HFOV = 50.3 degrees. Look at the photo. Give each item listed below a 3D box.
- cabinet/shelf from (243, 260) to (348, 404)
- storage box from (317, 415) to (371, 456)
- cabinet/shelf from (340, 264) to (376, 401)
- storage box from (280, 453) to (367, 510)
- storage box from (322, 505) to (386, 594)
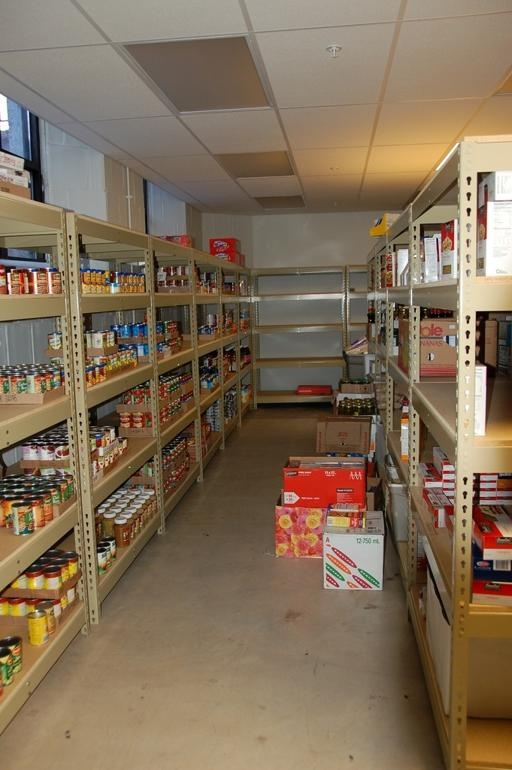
[{"bbox_3d":[0.575,-0.820,7.772,1.851,1.932,0.460,0,13,3],"label":"cabinet/shelf"},{"bbox_3d":[0.673,0.357,4.147,0.278,0.198,0.293,0,1,8],"label":"storage box"},{"bbox_3d":[1.217,-0.666,6.593,0.290,0.895,1.647,-3,16,3],"label":"cabinet/shelf"},{"bbox_3d":[0.384,0.539,3.063,0.448,0.234,0.530,-1,4,9],"label":"storage box"},{"bbox_3d":[0.463,0.767,2.629,0.288,0.338,0.236,-1,2,10],"label":"storage box"}]
